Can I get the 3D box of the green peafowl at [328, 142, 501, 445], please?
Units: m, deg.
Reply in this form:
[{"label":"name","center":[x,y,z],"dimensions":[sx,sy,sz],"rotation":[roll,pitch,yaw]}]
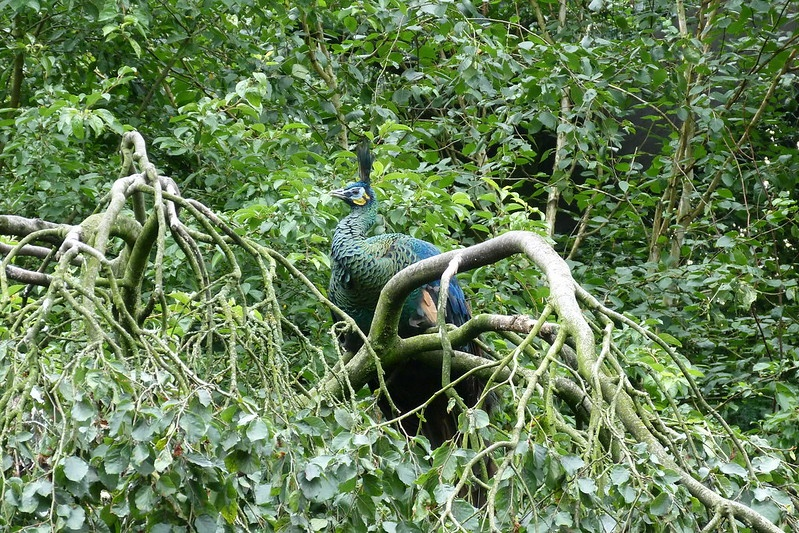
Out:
[{"label":"green peafowl","center":[0.045,0.247,6.249],"dimensions":[0.848,1.225,1.388],"rotation":[0,25,-7]}]
